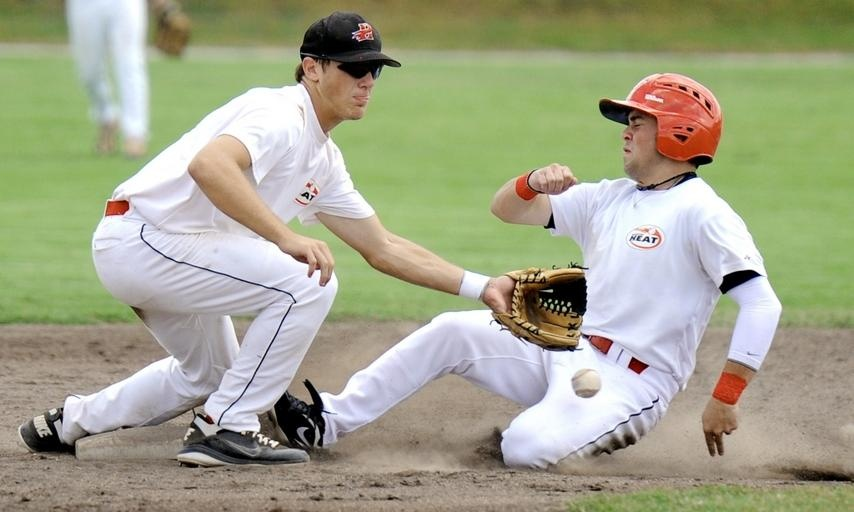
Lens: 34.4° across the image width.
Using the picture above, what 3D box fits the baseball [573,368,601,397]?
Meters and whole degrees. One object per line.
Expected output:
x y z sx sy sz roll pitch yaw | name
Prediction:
1.554 1.216 13.313 0.302 0.243 0.149 3 -5 7 | baseball

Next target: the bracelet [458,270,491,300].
0.464 0.286 13.582 0.325 0.270 0.127 15 -7 7 | bracelet

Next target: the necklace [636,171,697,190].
2.379 -0.732 13.484 0.368 0.062 0.250 -17 1 1 | necklace

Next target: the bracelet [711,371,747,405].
2.880 1.289 13.297 0.287 0.262 0.259 30 -21 -12 | bracelet
